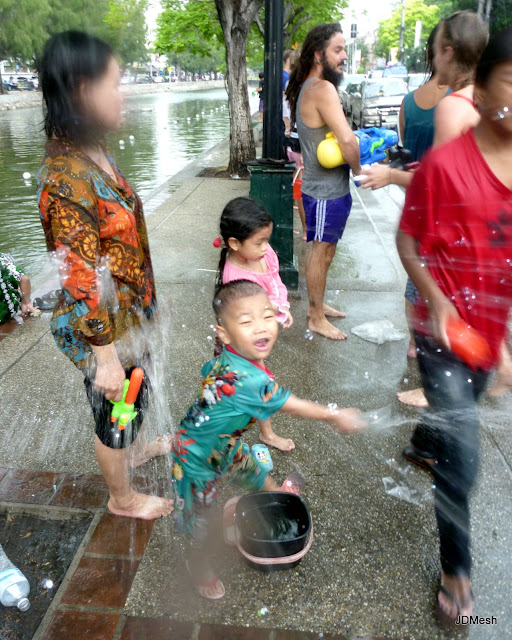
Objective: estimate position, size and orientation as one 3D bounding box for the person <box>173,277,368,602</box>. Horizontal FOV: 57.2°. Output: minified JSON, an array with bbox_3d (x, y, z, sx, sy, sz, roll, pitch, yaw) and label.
[{"bbox_3d":[-0.019,0.382,1.696,0.629,1.032,0.556,-12,24,-14],"label":"person"}]

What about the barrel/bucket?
[{"bbox_3d":[0.057,0.758,1.726,0.235,0.147,0.257,0,22,0],"label":"barrel/bucket"}]

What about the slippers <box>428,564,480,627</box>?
[{"bbox_3d":[0.637,0.882,1.532,0.081,0.071,0.204,0,13,5],"label":"slippers"}]

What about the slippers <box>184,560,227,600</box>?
[{"bbox_3d":[-0.162,0.877,1.646,0.062,0.111,0.173,-13,16,-42],"label":"slippers"}]
